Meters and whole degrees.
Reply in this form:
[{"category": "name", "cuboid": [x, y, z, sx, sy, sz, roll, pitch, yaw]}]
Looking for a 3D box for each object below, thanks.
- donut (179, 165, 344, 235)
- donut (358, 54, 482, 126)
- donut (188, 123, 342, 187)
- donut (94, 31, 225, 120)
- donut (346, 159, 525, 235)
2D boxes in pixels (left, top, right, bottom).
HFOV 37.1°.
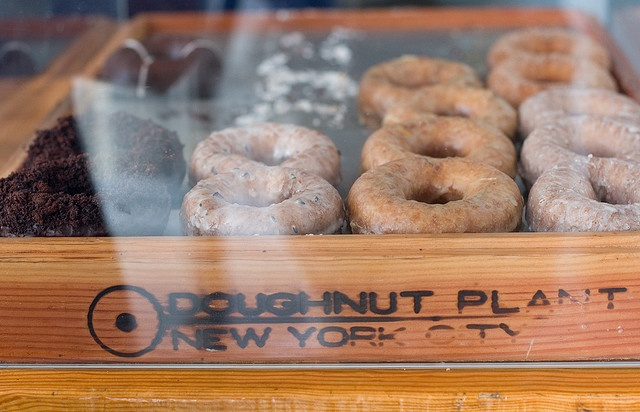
[{"category": "donut", "cuboid": [-0.170, -0.004, 2.843, 0.291, 0.099, 0.286, 8, 24, 21]}, {"category": "donut", "cuboid": [0.318, -0.435, 3.353, 0.311, 0.111, 0.305, -17, 37, -16]}, {"category": "donut", "cuboid": [-0.160, -0.182, 3.073, 0.298, 0.099, 0.281, -2, 27, -6]}, {"category": "donut", "cuboid": [-0.545, -0.467, 3.283, 0.427, 0.186, 0.207, -12, 40, -10]}, {"category": "donut", "cuboid": [0.346, -0.026, 2.873, 0.332, 0.108, 0.332, 3, 21, 19]}]
